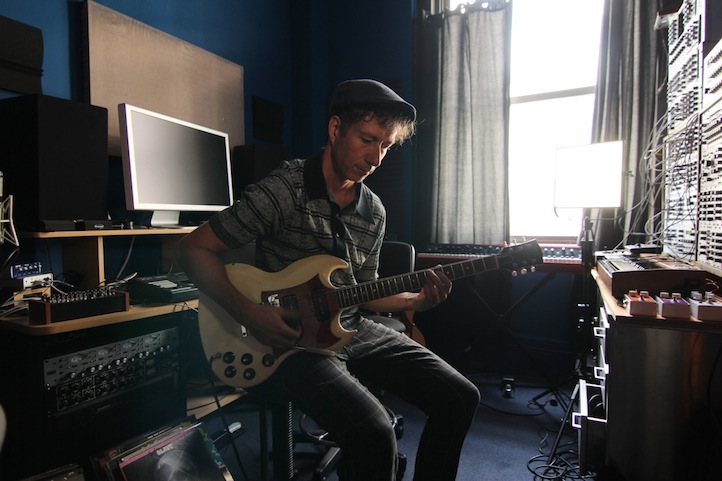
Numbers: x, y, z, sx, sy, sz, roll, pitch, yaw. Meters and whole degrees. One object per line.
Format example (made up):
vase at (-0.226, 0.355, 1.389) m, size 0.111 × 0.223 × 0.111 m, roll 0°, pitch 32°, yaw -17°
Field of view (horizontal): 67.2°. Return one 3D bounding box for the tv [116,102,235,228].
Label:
tv at (-1.103, -0.455, 3.510) m, size 0.250 × 0.655 × 0.877 m, roll -7°, pitch -3°, yaw 30°

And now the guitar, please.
guitar at (0.047, 0.248, 2.683) m, size 1.868 × 0.695 × 0.181 m, roll -20°, pitch 13°, yaw 33°
